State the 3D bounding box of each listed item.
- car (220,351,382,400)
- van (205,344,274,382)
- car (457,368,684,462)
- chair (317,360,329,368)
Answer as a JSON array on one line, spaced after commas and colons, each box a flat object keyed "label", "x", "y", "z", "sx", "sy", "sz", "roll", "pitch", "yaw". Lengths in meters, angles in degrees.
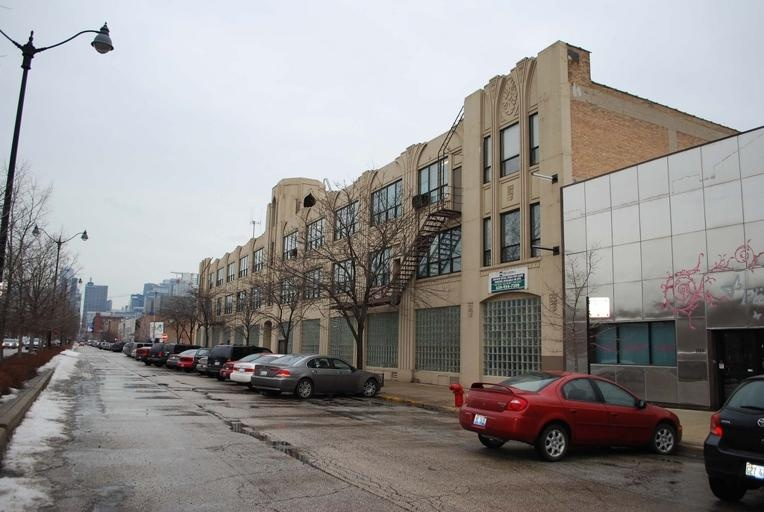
[{"label": "car", "x": -3.032, "y": 5.090, "z": 22.872, "sx": 6.179, "sy": 1.930, "sz": 3.683, "roll": 1, "pitch": -4, "yaw": -4}, {"label": "van", "x": -7.907, "y": 6.003, "z": 30.202, "sx": 3.585, "sy": 1.433, "sz": 1.988, "roll": 1, "pitch": -5, "yaw": -37}, {"label": "car", "x": 4.355, "y": 3.696, "z": 12.519, "sx": 4.746, "sy": 1.921, "sz": 1.175, "roll": 2, "pitch": -4, "yaw": -17}, {"label": "chair", "x": -2.414, "y": 4.406, "z": 22.181, "sx": 0.282, "sy": 0.381, "sz": 0.366, "roll": 2, "pitch": 7, "yaw": 33}]
